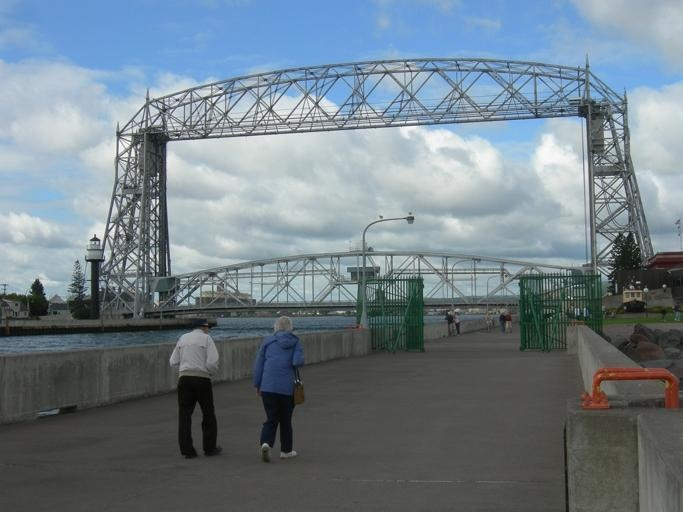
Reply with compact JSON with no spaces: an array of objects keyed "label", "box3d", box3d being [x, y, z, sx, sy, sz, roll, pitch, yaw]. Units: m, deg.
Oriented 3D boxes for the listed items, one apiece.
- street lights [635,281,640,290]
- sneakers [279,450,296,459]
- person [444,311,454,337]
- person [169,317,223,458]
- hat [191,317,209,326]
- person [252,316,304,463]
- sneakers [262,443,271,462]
[{"label":"street lights","box3d":[30.275,3.050,85.721,0.637,1.199,0.644,-2,-6,14]},{"label":"sneakers","box3d":[-0.761,2.814,11.817,0.093,0.092,0.217,3,4,43]},{"label":"person","box3d":[6.312,3.929,48.956,0.452,1.386,1.400,-3,-4,7]},{"label":"person","box3d":[-2.133,1.907,12.208,0.665,1.974,0.712,-1,-4,-21]},{"label":"hat","box3d":[-2.148,1.004,12.550,0.140,0.082,0.195,1,0,34]},{"label":"person","box3d":[-0.894,1.869,11.909,0.687,2.002,0.610,-2,-4,-12]},{"label":"sneakers","box3d":[-1.051,2.728,11.569,0.090,0.270,0.120,-2,-3,0]}]
